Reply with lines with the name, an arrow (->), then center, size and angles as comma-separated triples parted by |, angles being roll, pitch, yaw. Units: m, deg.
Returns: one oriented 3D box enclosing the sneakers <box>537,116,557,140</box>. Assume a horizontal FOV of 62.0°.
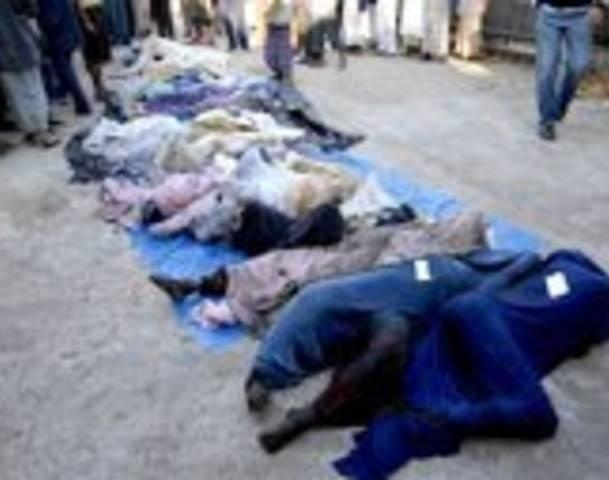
sneakers -> 1.527, -0.701, 3.199 | 0.109, 0.110, 0.184 | 10, 27, 23
